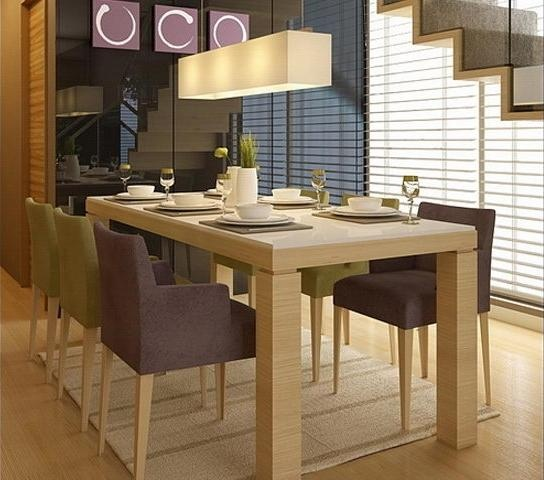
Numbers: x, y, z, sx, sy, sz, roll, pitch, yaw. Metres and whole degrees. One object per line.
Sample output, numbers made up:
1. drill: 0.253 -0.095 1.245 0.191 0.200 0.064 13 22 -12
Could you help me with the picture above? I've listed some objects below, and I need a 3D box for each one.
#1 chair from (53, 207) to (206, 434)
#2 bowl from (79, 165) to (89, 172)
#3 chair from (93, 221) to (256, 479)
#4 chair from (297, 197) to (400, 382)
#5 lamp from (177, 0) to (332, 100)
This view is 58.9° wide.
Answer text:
1. chair: -0.951 0.270 2.811 0.850 1.634 0.850 -2 5 -30
2. bowl: -1.462 -0.554 3.761 0.045 0.032 0.049 -1 -1 0
3. chair: -0.402 0.288 2.234 0.766 1.350 0.748 -2 6 -29
4. chair: 0.366 0.292 2.586 0.348 0.639 0.345 -6 0 -30
5. lamp: -0.123 -0.914 2.599 0.285 0.293 0.991 -7 10 -41
